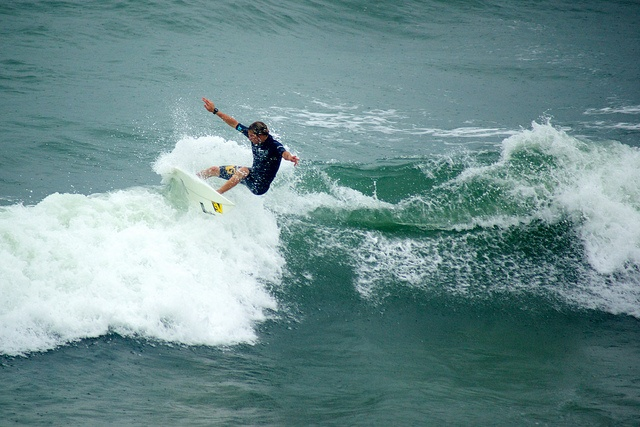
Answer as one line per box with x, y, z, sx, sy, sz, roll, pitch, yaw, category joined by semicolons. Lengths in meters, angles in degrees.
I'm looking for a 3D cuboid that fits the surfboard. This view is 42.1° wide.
-2.944;-0.470;20.186;2.708;0.540;0.362;26;15;24;surfboard
